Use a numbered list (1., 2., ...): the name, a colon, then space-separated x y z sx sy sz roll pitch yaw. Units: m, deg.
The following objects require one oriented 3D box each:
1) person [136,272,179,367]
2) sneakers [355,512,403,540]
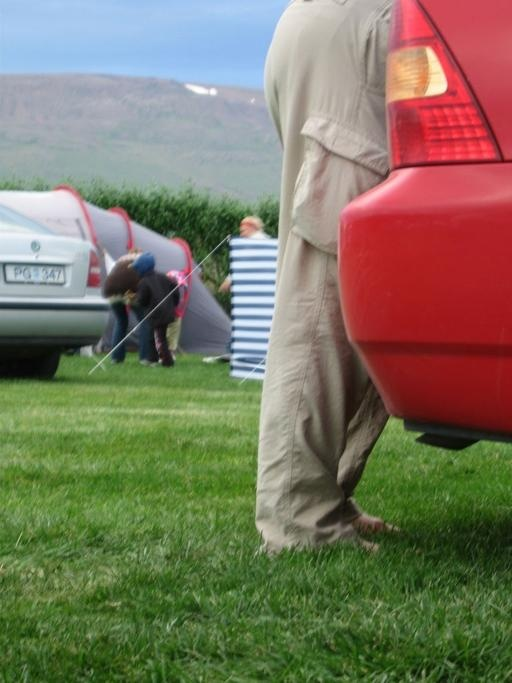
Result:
1. person: -0.872 -0.186 8.796 0.323 0.841 0.843 1 7 -2
2. sneakers: 0.261 0.411 2.273 0.124 0.067 0.044 1 17 12
